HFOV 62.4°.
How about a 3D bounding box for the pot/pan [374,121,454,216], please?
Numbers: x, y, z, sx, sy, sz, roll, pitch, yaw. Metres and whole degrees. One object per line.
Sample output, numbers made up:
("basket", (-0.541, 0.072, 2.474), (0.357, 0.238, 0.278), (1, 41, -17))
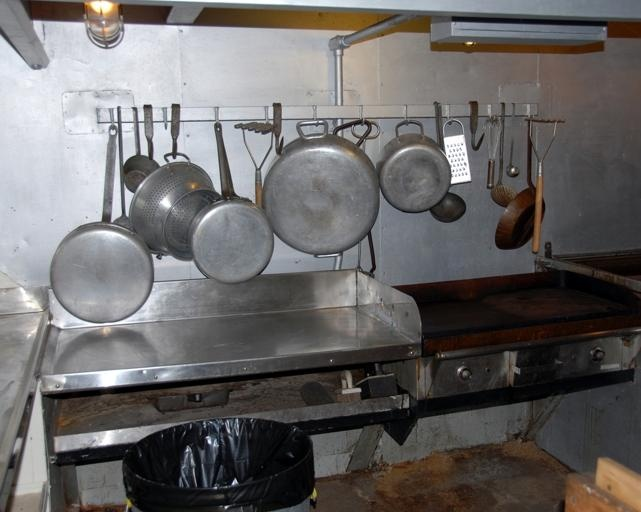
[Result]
("pot/pan", (0.384, -0.347, 2.203), (0.300, 0.321, 0.096), (-4, 8, -10))

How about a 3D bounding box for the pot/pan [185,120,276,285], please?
("pot/pan", (-0.326, -0.189, 1.901), (0.227, 0.568, 0.224), (-7, 21, -35))

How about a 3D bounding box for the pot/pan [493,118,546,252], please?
("pot/pan", (0.944, -0.324, 2.498), (0.201, 0.620, 0.417), (1, 9, 23))

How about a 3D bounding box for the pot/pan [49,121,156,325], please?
("pot/pan", (-0.783, -0.098, 1.873), (0.335, 0.656, 0.163), (-6, 9, -20))

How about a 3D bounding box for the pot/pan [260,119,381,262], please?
("pot/pan", (-0.001, -0.260, 2.049), (0.451, 0.519, 0.129), (-4, 8, -7))
